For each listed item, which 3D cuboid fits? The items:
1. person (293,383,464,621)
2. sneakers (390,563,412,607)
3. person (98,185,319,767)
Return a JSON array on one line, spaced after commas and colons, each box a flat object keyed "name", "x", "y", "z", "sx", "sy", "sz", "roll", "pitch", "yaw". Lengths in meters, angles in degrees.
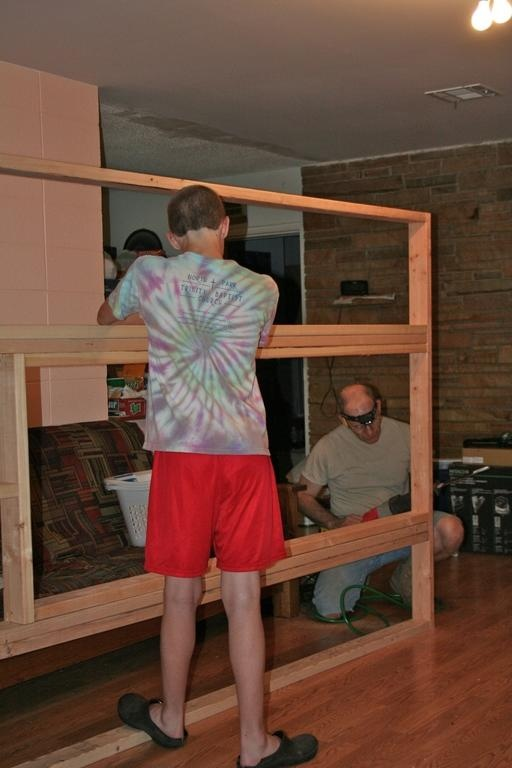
[{"name": "person", "x": 0.520, "y": 0.514, "z": 2.842, "sx": 0.861, "sy": 0.983, "sz": 0.626, "roll": -14, "pitch": 23, "yaw": -25}, {"name": "sneakers", "x": 0.653, "y": 0.884, "z": 2.768, "sx": 0.060, "sy": 0.125, "sz": 0.165, "roll": 1, "pitch": -38, "yaw": 6}, {"name": "person", "x": -0.122, "y": 0.297, "z": 1.273, "sx": 0.420, "sy": 1.047, "sz": 0.438, "roll": -3, "pitch": -7, "yaw": 3}]
